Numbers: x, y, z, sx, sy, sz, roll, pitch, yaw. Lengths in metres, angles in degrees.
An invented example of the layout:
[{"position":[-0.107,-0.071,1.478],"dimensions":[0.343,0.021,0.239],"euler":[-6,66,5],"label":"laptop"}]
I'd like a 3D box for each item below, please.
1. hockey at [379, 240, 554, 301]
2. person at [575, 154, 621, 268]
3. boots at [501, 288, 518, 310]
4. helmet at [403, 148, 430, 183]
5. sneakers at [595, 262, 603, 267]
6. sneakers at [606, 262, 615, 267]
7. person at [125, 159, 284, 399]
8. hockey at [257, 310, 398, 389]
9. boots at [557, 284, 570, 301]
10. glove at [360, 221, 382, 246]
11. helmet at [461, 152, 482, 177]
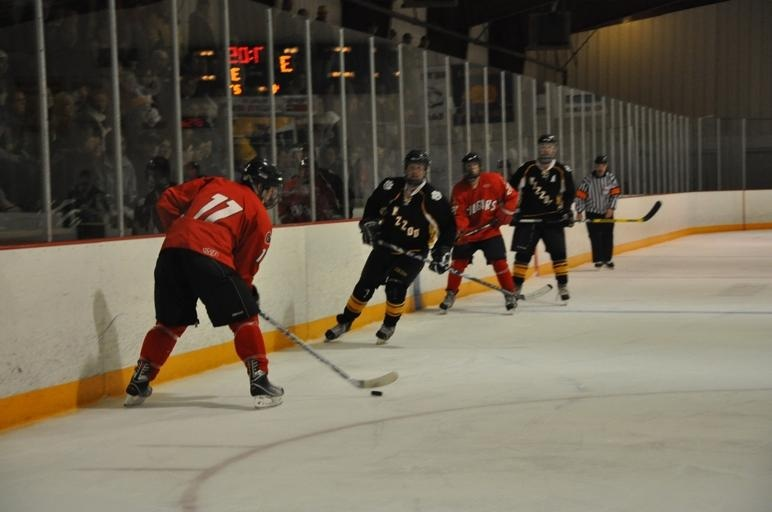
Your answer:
[{"position":[0.801,0.166,8.507],"dimensions":[2.541,0.329,0.168],"euler":[13,-18,-22],"label":"hockey"},{"position":[3.146,-0.654,12.026],"dimensions":[0.600,1.657,0.632],"euler":[1,10,13],"label":"person"},{"position":[1.319,0.481,8.560],"dimensions":[0.110,0.301,0.212],"euler":[-3,42,11],"label":"boots"},{"position":[0.258,-0.802,7.154],"dimensions":[0.309,0.343,0.285],"euler":[-1,0,-3],"label":"helmet"},{"position":[3.171,0.126,12.050],"dimensions":[0.104,0.083,0.169],"euler":[2,9,19],"label":"sneakers"},{"position":[3.335,0.133,12.003],"dimensions":[0.120,0.078,0.271],"euler":[1,9,16],"label":"sneakers"},{"position":[-1.211,0.249,5.399],"dimensions":[0.981,1.531,0.412],"euler":[-2,10,-2],"label":"person"},{"position":[-0.498,0.775,6.537],"dimensions":[0.913,0.116,0.101],"euler":[34,-34,-10],"label":"hockey"},{"position":[1.990,0.415,9.080],"dimensions":[0.175,0.194,0.535],"euler":[-5,-5,12],"label":"boots"},{"position":[-0.136,-0.207,7.127],"dimensions":[0.185,0.184,0.215],"euler":[-4,-9,4],"label":"glove"},{"position":[0.896,-0.958,8.529],"dimensions":[0.236,0.266,0.282],"euler":[-4,-19,2],"label":"helmet"}]
